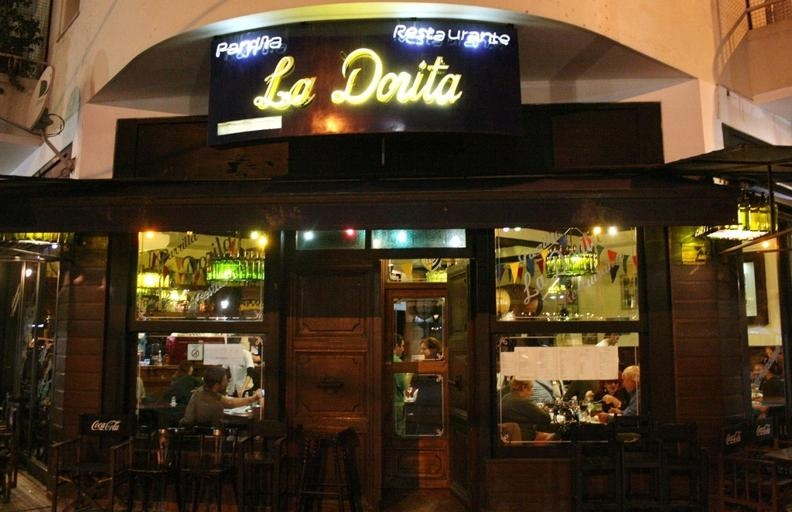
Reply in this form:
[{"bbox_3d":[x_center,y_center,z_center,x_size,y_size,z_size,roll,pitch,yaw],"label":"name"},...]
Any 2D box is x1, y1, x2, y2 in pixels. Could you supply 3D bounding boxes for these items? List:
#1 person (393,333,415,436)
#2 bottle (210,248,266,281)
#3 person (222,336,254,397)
[{"bbox_3d":[0.101,1.982,12.785,0.285,1.521,0.129,0,-9,-4],"label":"person"},{"bbox_3d":[-2.319,0.137,11.843,0.806,0.455,0.020,-2,-9,6],"label":"bottle"},{"bbox_3d":[-2.254,1.559,11.728,0.430,0.852,0.126,-3,-9,17],"label":"person"}]
